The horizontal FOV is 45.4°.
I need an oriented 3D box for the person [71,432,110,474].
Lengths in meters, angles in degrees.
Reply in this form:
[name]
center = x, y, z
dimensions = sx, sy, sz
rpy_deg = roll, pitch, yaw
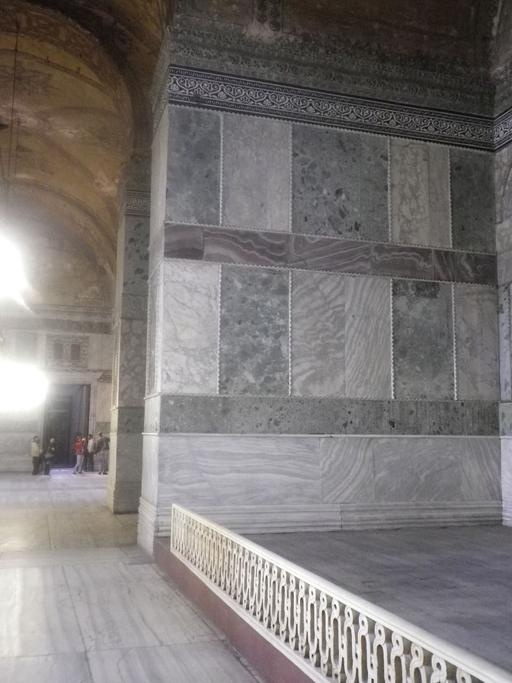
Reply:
[person]
center = -5.092, 3.489, 18.867
dimensions = 0.989, 1.248, 2.365
rpy_deg = 0, -9, -22
